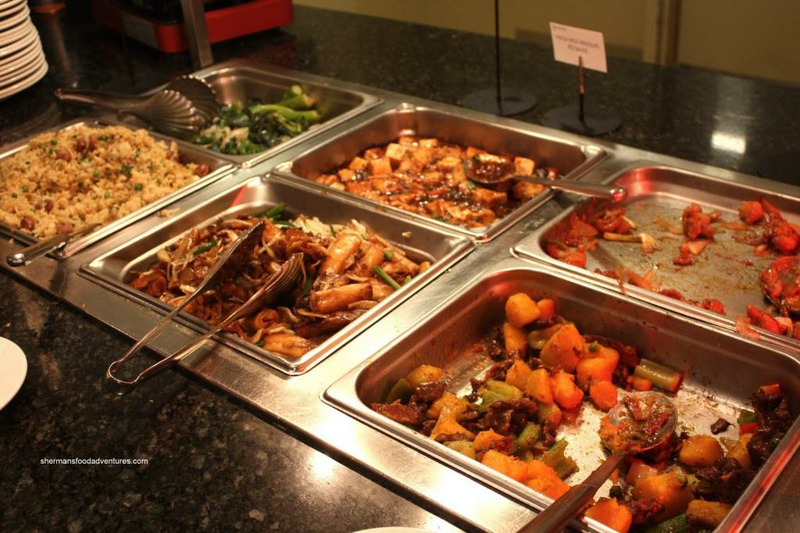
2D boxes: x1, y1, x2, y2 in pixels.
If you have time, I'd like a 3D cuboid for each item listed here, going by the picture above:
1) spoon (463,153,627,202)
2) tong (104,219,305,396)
[{"bbox_3d":[0.451,-0.287,1.868,0.566,0.063,0.171,7,35,42],"label":"spoon"},{"bbox_3d":[-0.452,0.073,1.537,0.232,0.139,0.687,32,52,25],"label":"tong"}]
